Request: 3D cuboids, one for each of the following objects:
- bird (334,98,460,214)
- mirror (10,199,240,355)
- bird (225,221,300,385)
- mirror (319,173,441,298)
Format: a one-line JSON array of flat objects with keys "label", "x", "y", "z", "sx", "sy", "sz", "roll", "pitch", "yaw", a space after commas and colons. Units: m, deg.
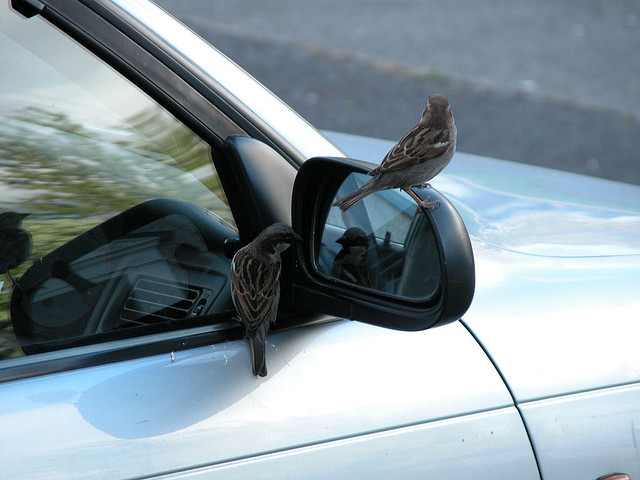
[{"label": "bird", "x": 0.247, "y": -0.274, "z": 2.020, "sx": 0.190, "sy": 0.288, "sz": 0.598, "roll": 23, "pitch": 33, "yaw": 37}, {"label": "mirror", "x": -0.511, "y": 0.083, "z": 1.732, "sx": 0.585, "sy": 0.191, "sz": 0.388, "roll": -18, "pitch": 69, "yaw": 2}, {"label": "bird", "x": -0.086, "y": 0.164, "z": 1.728, "sx": 0.173, "sy": 0.280, "sz": 0.400, "roll": 21, "pitch": 58, "yaw": -25}, {"label": "mirror", "x": 0.149, "y": -0.001, "z": 1.708, "sx": 0.444, "sy": 0.028, "sz": 0.412, "roll": 11, "pitch": 47, "yaw": 6}]
